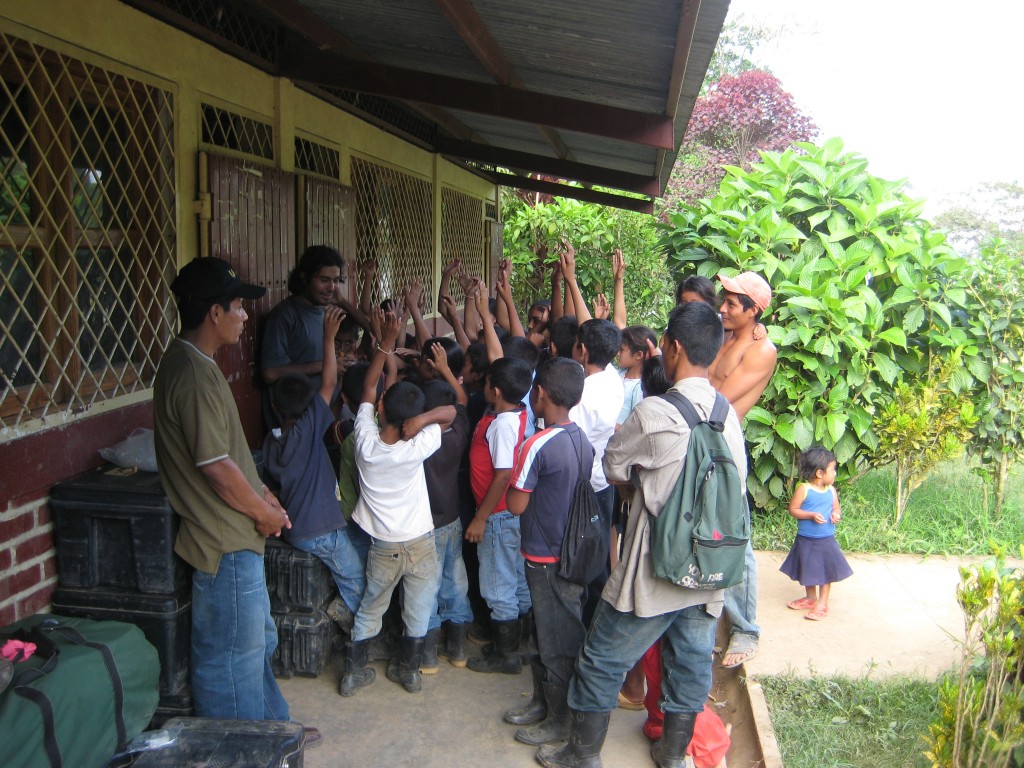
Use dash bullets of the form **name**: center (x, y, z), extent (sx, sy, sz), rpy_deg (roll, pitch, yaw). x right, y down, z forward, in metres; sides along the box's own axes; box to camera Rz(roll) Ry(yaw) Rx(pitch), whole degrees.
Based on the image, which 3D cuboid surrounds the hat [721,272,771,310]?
- **hat**: center (1.326, -0.546, 4.756), extent (0.281, 0.154, 0.195), rpy_deg (33, 11, -9)

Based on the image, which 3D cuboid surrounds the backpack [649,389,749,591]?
- **backpack**: center (0.813, 0.456, 3.668), extent (0.392, 0.838, 0.228), rpy_deg (1, 2, 5)

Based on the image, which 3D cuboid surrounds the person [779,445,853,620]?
- **person**: center (2.039, 0.970, 5.615), extent (0.422, 1.084, 0.410), rpy_deg (0, 2, -23)

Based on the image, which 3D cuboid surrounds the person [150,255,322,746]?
- **person**: center (-1.299, 0.493, 3.745), extent (0.541, 2.103, 0.294), rpy_deg (-1, 2, -28)

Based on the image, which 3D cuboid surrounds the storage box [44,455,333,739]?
- **storage box**: center (-1.298, 0.956, 4.095), extent (0.887, 1.698, 0.974), rpy_deg (0, 0, 12)

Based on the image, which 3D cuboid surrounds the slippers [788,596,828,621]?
- **slippers**: center (1.946, 1.470, 5.501), extent (0.246, 0.104, 0.261), rpy_deg (1, 2, 20)

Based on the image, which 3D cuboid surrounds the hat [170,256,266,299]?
- **hat**: center (-1.313, -0.446, 3.721), extent (0.309, 0.168, 0.213), rpy_deg (-8, 14, -21)

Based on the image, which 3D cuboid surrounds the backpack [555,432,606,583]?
- **backpack**: center (0.351, 0.636, 4.198), extent (0.155, 0.695, 0.286), rpy_deg (1, -6, 12)
